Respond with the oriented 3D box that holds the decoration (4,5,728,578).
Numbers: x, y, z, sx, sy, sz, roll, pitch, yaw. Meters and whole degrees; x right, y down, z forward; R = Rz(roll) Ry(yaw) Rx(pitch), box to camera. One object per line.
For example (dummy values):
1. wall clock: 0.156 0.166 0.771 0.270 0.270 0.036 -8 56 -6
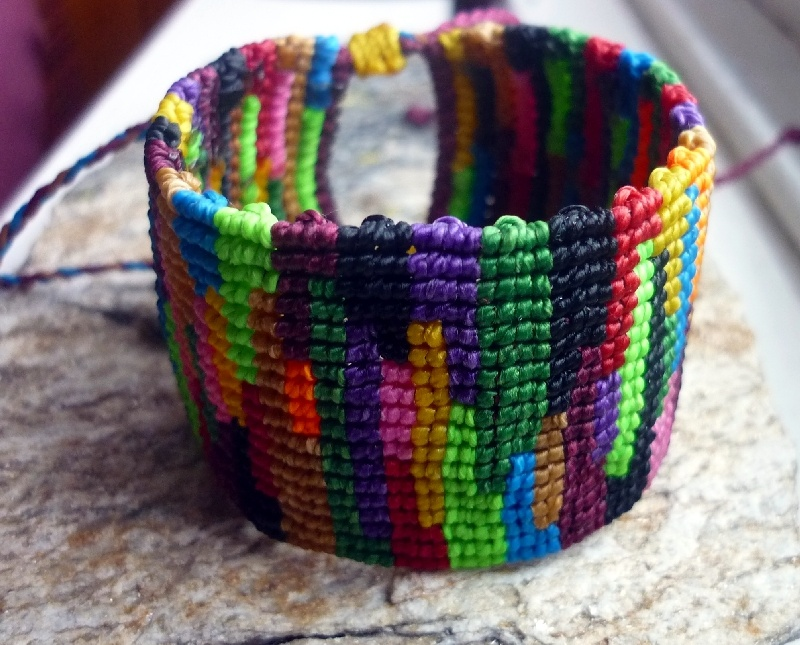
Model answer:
1. decoration: 0.020 -0.035 1.462 0.587 0.469 0.720 -1 32 -2
